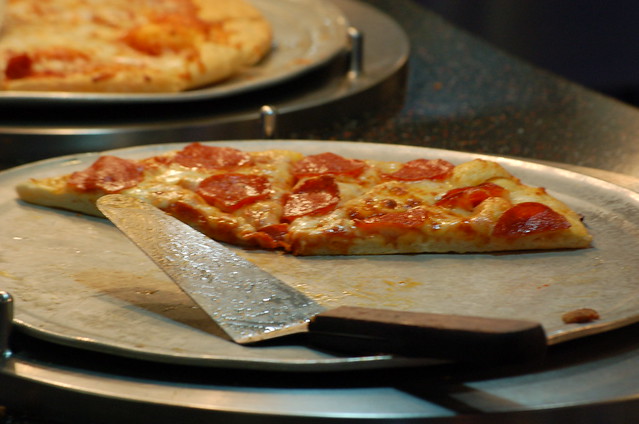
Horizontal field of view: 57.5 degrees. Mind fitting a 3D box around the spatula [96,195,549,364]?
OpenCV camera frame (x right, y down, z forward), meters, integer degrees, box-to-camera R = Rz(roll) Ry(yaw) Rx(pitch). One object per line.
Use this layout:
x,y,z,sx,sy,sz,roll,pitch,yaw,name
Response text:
-0.087,0.062,0.559,0.493,0.104,0.121,22,51,23,spatula
